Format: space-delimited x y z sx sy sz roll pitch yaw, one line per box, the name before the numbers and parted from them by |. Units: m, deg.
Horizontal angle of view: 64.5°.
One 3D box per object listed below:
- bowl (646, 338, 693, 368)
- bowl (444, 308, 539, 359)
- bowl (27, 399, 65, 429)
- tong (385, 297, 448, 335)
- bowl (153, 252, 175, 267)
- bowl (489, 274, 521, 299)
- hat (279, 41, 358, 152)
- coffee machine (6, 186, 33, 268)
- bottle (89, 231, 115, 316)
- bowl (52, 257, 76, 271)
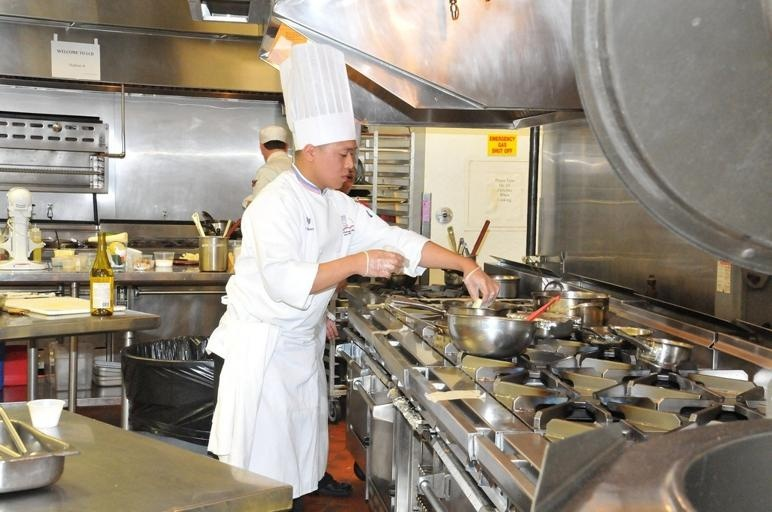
bowl | 0.834 0.277 1.792 0.100 0.038 0.093 2 5 0
bowl | 0.315 0.218 1.960 0.307 0.128 0.274 -7 9 -26
bowl | -0.857 0.392 1.548 0.089 0.044 0.080 1 -5 -6
tong | 0.137 0.201 2.618 0.260 0.050 0.051 6 -9 -22
bowl | -1.462 0.024 4.051 0.123 0.066 0.110 0 -6 -5
bowl | 0.593 0.151 3.034 0.162 0.084 0.145 0 -4 -4
hat | -0.235 -0.691 2.334 0.222 0.224 0.150 -3 10 -4
coffee machine | -2.014 -0.165 3.374 0.162 0.552 0.200 -2 15 -33
bottle | -1.253 0.078 2.742 0.133 0.354 0.121 0 6 0
bowl | -1.997 0.049 3.802 0.146 0.056 0.090 -2 4 -39
